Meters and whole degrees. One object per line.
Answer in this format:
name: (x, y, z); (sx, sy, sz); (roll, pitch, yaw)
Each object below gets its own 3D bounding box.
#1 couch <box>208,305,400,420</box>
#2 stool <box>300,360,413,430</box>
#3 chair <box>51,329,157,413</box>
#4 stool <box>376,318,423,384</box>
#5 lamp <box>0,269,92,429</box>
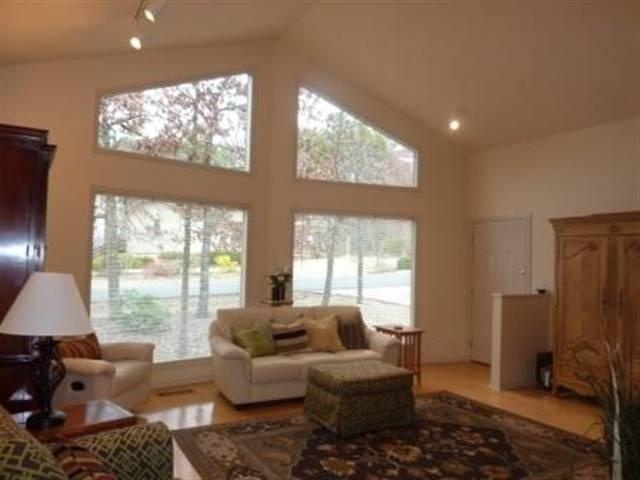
couch: (-0.180, 1.377, 5.835); (2.276, 0.993, 0.987); (3, -3, -29)
stool: (0.399, 1.584, 4.930); (1.167, 0.493, 1.199); (-2, -5, 18)
chair: (-2.177, 1.295, 4.732); (0.670, 0.855, 0.899); (2, 1, 9)
stool: (0.971, 1.388, 5.860); (0.321, 0.639, 0.704); (1, -3, -10)
lamp: (-1.833, 0.729, 3.161); (0.492, 1.025, 0.413); (-1, -1, 26)
